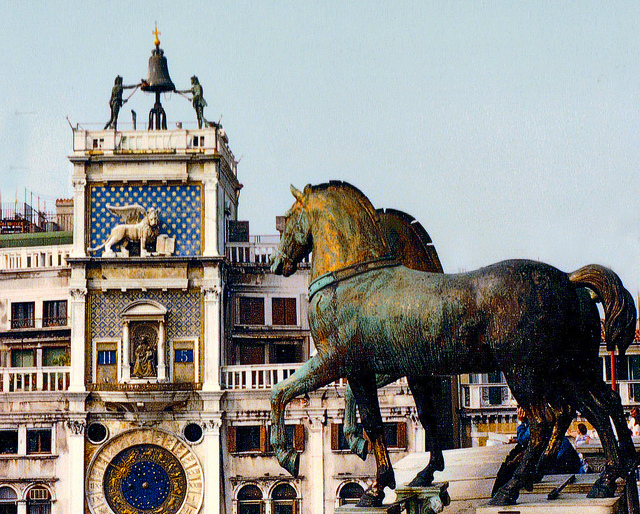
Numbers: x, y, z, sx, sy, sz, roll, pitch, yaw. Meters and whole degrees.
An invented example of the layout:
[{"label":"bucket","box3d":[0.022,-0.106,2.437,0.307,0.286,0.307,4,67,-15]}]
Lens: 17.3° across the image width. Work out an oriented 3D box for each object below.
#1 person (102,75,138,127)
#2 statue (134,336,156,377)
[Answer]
[{"label":"person","box3d":[-8.872,-6.521,90.782,1.400,2.377,0.683,1,-8,22]},{"label":"statue","box3d":[-7.451,4.132,87.195,0.802,1.922,0.577,1,29,-1]}]
